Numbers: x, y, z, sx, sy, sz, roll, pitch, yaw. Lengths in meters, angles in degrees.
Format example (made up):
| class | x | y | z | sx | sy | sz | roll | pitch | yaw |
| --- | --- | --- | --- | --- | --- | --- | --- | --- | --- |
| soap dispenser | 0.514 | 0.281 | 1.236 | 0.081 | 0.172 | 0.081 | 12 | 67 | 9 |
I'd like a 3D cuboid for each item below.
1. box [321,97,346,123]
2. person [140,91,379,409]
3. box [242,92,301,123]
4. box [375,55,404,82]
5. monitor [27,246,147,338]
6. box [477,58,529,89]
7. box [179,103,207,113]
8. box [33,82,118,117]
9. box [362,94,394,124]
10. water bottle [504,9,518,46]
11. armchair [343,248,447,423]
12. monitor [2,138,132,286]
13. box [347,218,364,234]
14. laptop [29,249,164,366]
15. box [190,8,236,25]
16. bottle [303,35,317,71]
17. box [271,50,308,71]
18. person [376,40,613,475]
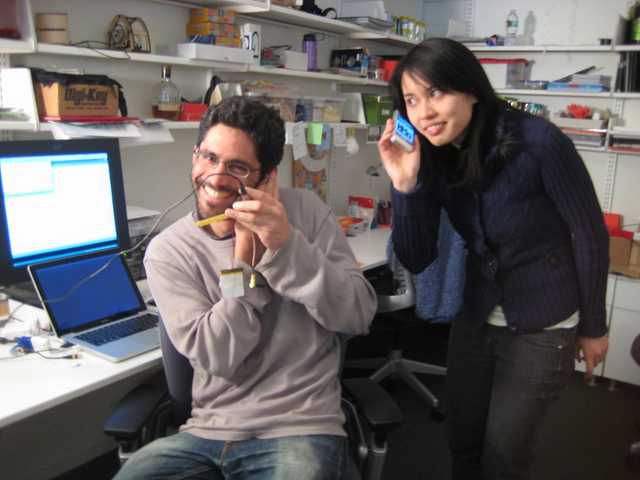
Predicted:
| class | x | y | z | sx | sy | sz | roll | pitch | yaw |
| --- | --- | --- | --- | --- | --- | --- | --- | --- | --- |
| box | 0.076 | -0.787 | 3.181 | 0.078 | 0.152 | 0.286 | 3 | 18 | 18 |
| person | -0.175 | 0.079 | 1.712 | 0.695 | 1.047 | 0.465 | -12 | 19 | -27 |
| box | -0.222 | -0.731 | 2.855 | 0.359 | 0.119 | 0.113 | 15 | 29 | 41 |
| box | 0.436 | -1.107 | 3.399 | 0.132 | 0.162 | 0.302 | -1 | 17 | 7 |
| monitor | -0.746 | 0.202 | 1.936 | 0.354 | 0.274 | 0.459 | 0 | 6 | 18 |
| box | 1.308 | -1.179 | 3.734 | 0.344 | 0.210 | 0.201 | -2 | 17 | 4 |
| box | -0.574 | -0.596 | 2.375 | 0.141 | 0.047 | 0.051 | -13 | 20 | -29 |
| box | -0.915 | -0.529 | 1.986 | 0.285 | 0.140 | 0.110 | -11 | 19 | -24 |
| box | 0.376 | -0.843 | 3.470 | 0.132 | 0.168 | 0.229 | 13 | 14 | 33 |
| water bottle | 1.351 | -1.511 | 3.737 | 0.085 | 0.261 | 0.338 | 3 | 18 | 19 |
| armchair | 0.533 | 0.504 | 3.025 | 0.636 | 0.796 | 0.587 | 25 | -9 | -32 |
| monitor | -0.979 | -0.103 | 1.990 | 0.055 | 0.549 | 0.547 | 3 | 7 | 38 |
| box | 0.230 | -0.084 | 3.433 | 0.066 | 0.043 | 0.121 | 4 | 12 | 23 |
| laptop | -0.740 | 0.206 | 1.933 | 0.474 | 0.269 | 0.433 | 4 | 9 | 21 |
| box | -0.509 | -1.047 | 2.467 | 0.127 | 0.045 | 0.092 | -10 | 20 | -42 |
| bottle | -0.063 | -1.052 | 2.955 | 0.073 | 0.192 | 0.128 | -3 | 17 | 0 |
| box | -0.140 | -0.950 | 2.787 | 0.095 | 0.109 | 0.260 | 11 | 22 | 38 |
| person | 0.575 | 0.087 | 1.851 | 0.371 | 1.508 | 0.731 | -15 | 20 | -33 |
